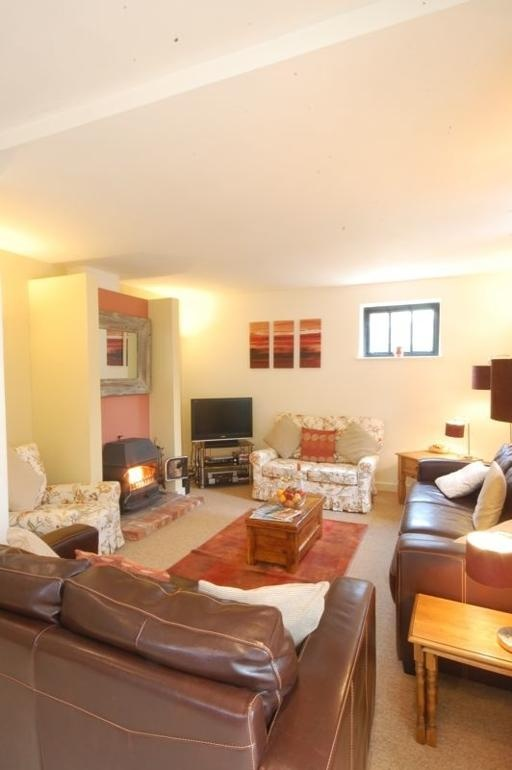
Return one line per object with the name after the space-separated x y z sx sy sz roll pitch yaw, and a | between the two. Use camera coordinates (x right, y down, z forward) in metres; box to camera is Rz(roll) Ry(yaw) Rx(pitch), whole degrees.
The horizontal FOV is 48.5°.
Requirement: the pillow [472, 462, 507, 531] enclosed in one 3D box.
1.256 0.609 3.072 0.098 0.220 0.299 36 18 14 | pillow

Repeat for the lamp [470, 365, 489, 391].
1.790 -0.063 4.561 0.056 0.181 0.214 1 4 -7 | lamp

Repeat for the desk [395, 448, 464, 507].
1.475 0.911 5.110 0.436 0.441 0.494 14 -4 27 | desk

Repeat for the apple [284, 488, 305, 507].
0.259 0.789 3.970 0.103 0.047 0.095 -2 5 -20 | apple

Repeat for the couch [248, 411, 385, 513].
0.589 0.736 5.418 1.163 0.785 0.705 2 5 25 | couch

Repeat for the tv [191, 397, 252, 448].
-0.374 0.388 6.089 0.534 0.379 0.036 -1 -1 -18 | tv

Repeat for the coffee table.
0.147 0.808 3.729 0.334 0.332 0.714 0 4 19 | coffee table

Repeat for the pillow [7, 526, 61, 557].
-0.970 0.690 2.494 0.235 0.071 0.215 23 -9 -10 | pillow
